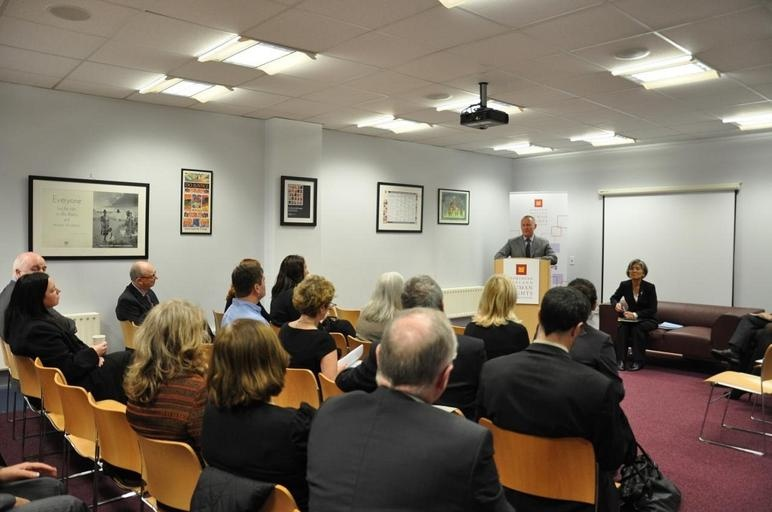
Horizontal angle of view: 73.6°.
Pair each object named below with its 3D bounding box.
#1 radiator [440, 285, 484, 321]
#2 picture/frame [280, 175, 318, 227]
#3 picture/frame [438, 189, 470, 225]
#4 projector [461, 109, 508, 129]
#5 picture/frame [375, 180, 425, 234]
[{"bbox_3d":[1.575,0.968,10.517,1.011,0.639,0.093,-8,-8,40],"label":"radiator"},{"bbox_3d":[-1.411,-0.889,8.189,0.805,0.976,0.071,1,-1,-41],"label":"picture/frame"},{"bbox_3d":[1.369,-0.990,10.376,0.783,0.678,0.015,-1,2,-29],"label":"picture/frame"},{"bbox_3d":[1.234,-1.724,6.411,0.541,0.214,0.307,6,9,32],"label":"projector"},{"bbox_3d":[0.222,-0.921,9.557,0.957,0.859,0.062,4,-6,-44],"label":"picture/frame"}]
